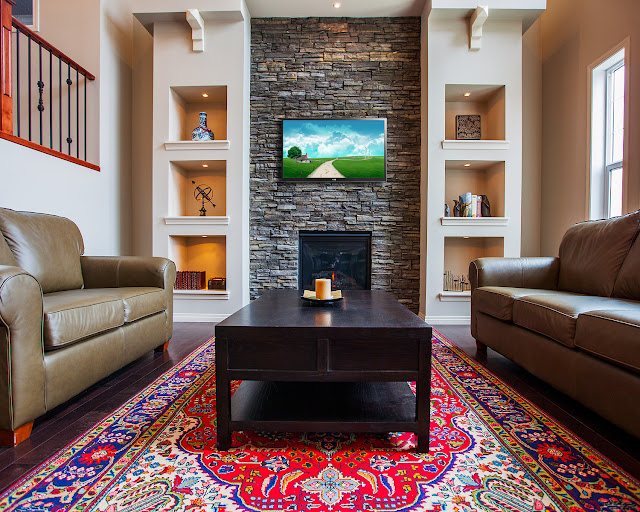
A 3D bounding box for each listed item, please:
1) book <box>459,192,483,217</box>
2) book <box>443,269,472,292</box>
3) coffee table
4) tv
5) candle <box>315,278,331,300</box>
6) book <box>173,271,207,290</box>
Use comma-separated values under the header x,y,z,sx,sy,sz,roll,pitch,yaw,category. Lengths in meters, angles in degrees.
x,y,z,sx,sy,sz,roll,pitch,yaw,category
1.520,-0.480,4.970,0.238,0.332,0.367,0,4,0,book
1.454,0.282,5.155,0.244,0.164,0.232,-2,-4,31,book
0.329,0.855,3.209,1.232,0.540,1.843,-4,-14,17,coffee table
0.107,-1.123,5.191,1.318,0.684,0.028,6,4,29,tv
0.006,0.214,3.015,0.116,0.120,0.116,1,-3,22,candle
-1.336,0.265,4.956,0.349,0.227,0.200,2,2,2,book
